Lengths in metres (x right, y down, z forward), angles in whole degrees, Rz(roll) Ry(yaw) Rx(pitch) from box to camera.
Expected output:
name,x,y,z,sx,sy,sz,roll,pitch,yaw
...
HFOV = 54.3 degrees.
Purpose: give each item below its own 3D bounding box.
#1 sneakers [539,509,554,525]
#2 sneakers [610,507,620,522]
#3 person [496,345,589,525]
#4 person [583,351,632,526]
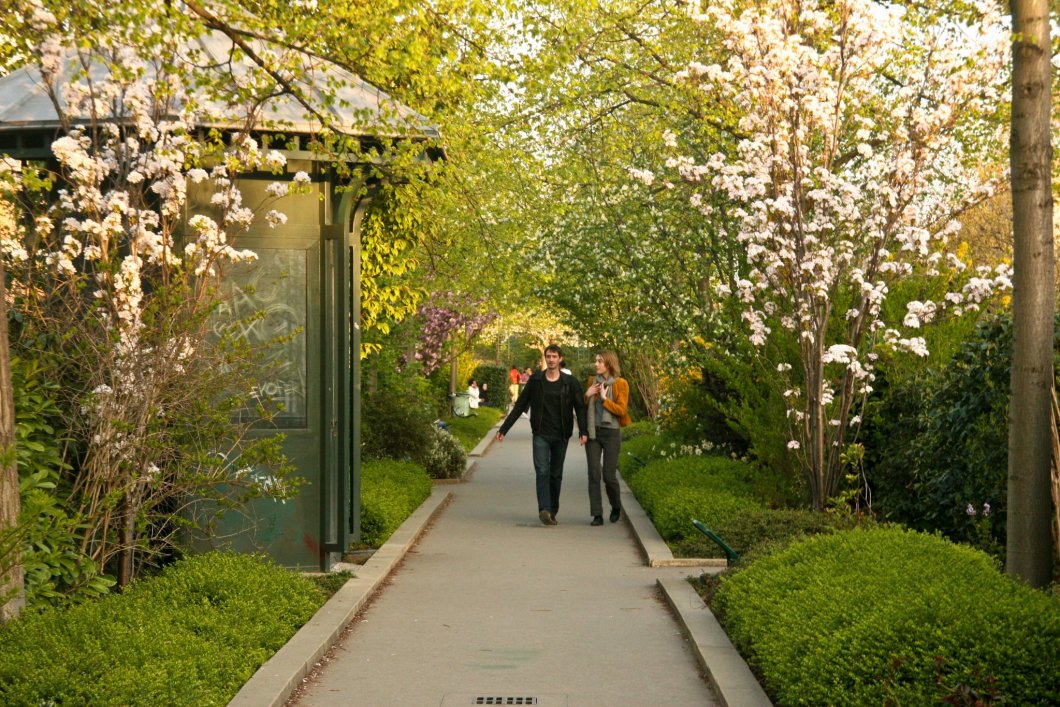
name,x,y,z,sx,sy,sz,roll,pitch,yaw
sneakers,0.218,2.270,14.165,0.098,0.306,0.117,-11,16,4
sneakers,1.187,2.269,14.413,0.191,0.181,0.431,-2,0,5
person,0.279,1.129,14.355,1.025,2.463,0.618,2,2,2
person,1.081,1.186,14.594,0.607,2.373,1.127,2,1,6
